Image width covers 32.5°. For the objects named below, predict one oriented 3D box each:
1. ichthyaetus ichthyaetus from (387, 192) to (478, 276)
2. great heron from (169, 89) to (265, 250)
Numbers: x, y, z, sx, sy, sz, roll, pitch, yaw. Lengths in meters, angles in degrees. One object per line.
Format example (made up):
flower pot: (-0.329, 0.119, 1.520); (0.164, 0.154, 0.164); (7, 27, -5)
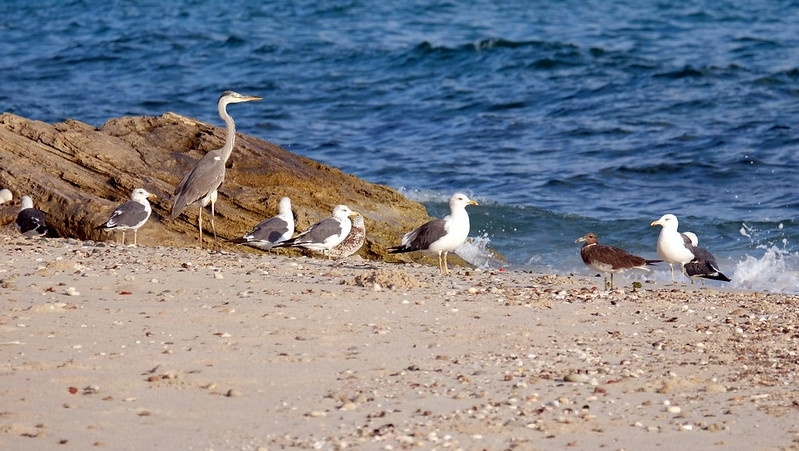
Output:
ichthyaetus ichthyaetus: (1.134, 0.007, 42.197); (1.840, 1.860, 0.944); (2, 22, -4)
great heron: (-6.480, -1.818, 45.922); (1.676, 5.045, 4.531); (23, 28, 28)
